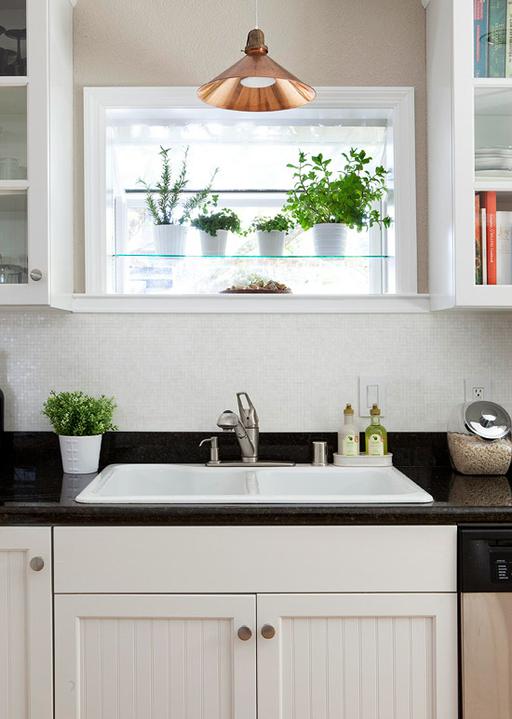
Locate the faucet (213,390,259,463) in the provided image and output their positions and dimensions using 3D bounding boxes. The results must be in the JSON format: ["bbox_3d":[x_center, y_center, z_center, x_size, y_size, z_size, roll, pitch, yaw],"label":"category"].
[{"bbox_3d":[-0.050,0.189,2.271,0.116,0.198,0.207,-2,4,0],"label":"faucet"}]

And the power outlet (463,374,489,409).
[{"bbox_3d":[0.665,0.094,2.345,0.099,0.098,0.012,4,-2,-2],"label":"power outlet"}]

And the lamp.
[{"bbox_3d":[0.023,-0.697,1.932,0.253,0.238,0.246,4,-7,-32],"label":"lamp"}]

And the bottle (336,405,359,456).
[{"bbox_3d":[0.268,0.198,2.265,0.059,0.138,0.091,-1,4,5],"label":"bottle"}]

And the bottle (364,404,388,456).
[{"bbox_3d":[0.355,0.202,2.294,0.067,0.147,0.159,-1,4,9],"label":"bottle"}]

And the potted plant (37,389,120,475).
[{"bbox_3d":[-0.484,0.197,2.302,0.294,0.263,0.213,1,-6,-10],"label":"potted plant"}]
